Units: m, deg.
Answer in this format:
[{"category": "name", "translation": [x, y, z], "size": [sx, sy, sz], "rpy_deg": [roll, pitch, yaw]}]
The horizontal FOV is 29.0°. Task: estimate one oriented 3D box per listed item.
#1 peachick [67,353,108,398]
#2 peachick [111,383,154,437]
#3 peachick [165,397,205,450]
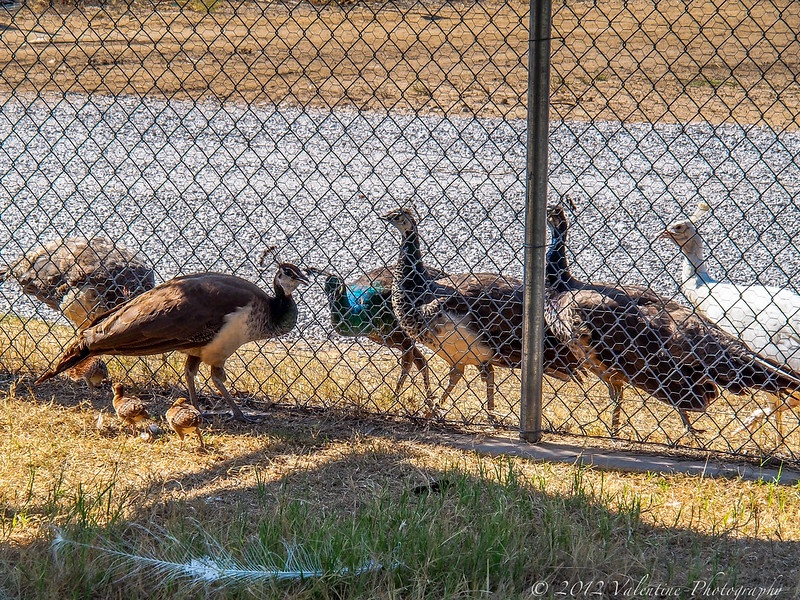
[{"category": "peachick", "translation": [-2.490, 0.606, 12.519], "size": [0.467, 0.330, 0.208], "rpy_deg": [-1, 7, 0]}, {"category": "peachick", "translation": [-2.084, 0.881, 12.178], "size": [0.294, 0.423, 0.479], "rpy_deg": [3, -6, -12]}, {"category": "peachick", "translation": [-1.608, 0.959, 11.954], "size": [0.256, 0.369, 0.424], "rpy_deg": [-10, 11, -37]}]
